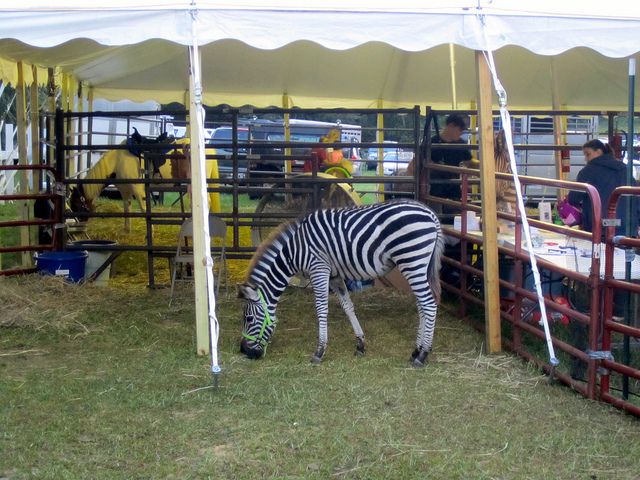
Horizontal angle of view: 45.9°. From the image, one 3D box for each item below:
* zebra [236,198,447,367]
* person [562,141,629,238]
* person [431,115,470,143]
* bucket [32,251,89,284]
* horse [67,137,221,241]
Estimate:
[{"bbox_3d":[0.188,0.408,7.356,1.921,1.528,0.494,0,6,4],"label":"zebra"},{"bbox_3d":[3.092,-0.598,8.341,0.699,0.944,4.264,2,8,18],"label":"person"},{"bbox_3d":[1.671,-1.424,9.795,0.458,0.358,0.865,1,7,10],"label":"person"},{"bbox_3d":[-3.143,0.301,9.102,0.495,0.556,0.386,0,2,-7],"label":"bucket"},{"bbox_3d":[-2.826,-0.905,12.328,2.604,1.801,0.676,-9,24,-31],"label":"horse"}]
